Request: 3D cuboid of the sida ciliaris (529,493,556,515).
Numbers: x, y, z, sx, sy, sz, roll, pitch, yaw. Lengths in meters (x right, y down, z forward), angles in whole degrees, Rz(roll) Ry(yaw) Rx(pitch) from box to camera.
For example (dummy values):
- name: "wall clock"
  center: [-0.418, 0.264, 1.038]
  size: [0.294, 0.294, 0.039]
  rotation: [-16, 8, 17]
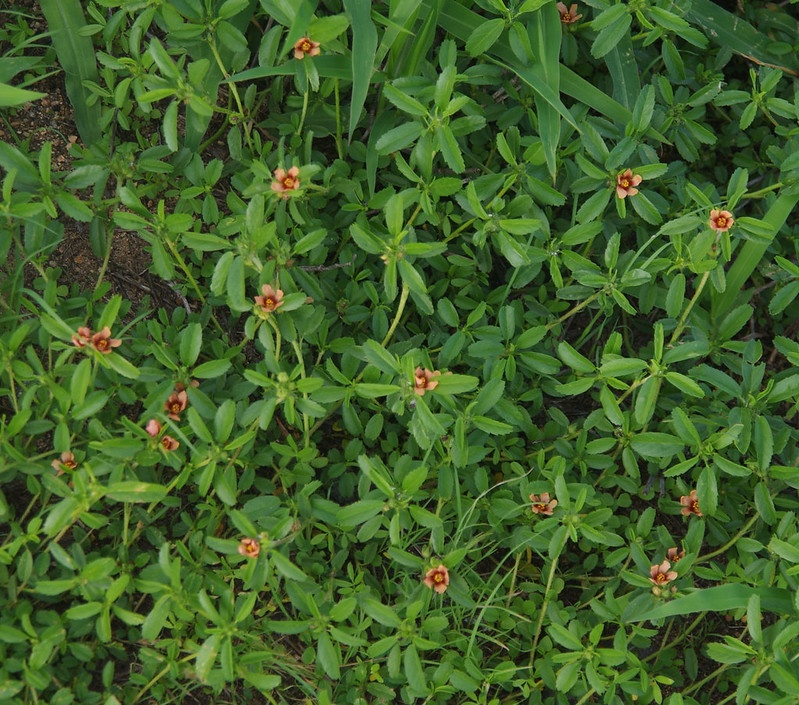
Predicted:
- name: "sida ciliaris"
  center: [0.517, 0.546, 2.766]
  size: [0.104, 0.091, 0.076]
  rotation: [7, 74, -1]

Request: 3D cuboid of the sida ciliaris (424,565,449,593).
- name: "sida ciliaris"
  center: [0.123, 0.749, 2.540]
  size: [0.089, 0.094, 0.086]
  rotation: [-16, 76, -8]

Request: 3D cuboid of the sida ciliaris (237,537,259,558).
- name: "sida ciliaris"
  center: [-0.471, 0.614, 2.410]
  size: [0.074, 0.107, 0.059]
  rotation: [8, 75, -1]

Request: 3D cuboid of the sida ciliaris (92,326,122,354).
- name: "sida ciliaris"
  center: [-0.963, -0.041, 2.493]
  size: [0.102, 0.055, 0.085]
  rotation: [-28, 103, -21]

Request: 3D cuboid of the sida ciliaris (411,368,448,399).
- name: "sida ciliaris"
  center: [0.091, 0.094, 2.465]
  size: [0.100, 0.041, 0.084]
  rotation: [0, 41, 2]

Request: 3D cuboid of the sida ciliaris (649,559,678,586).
- name: "sida ciliaris"
  center: [0.910, 0.758, 2.636]
  size: [0.080, 0.034, 0.076]
  rotation: [-34, 47, -13]

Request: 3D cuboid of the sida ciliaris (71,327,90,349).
- name: "sida ciliaris"
  center: [-1.025, -0.045, 2.468]
  size: [0.059, 0.030, 0.061]
  rotation: [-47, 40, -9]

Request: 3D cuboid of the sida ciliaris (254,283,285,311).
- name: "sida ciliaris"
  center: [-0.425, -0.173, 2.516]
  size: [0.091, 0.051, 0.095]
  rotation: [0, 73, -3]
